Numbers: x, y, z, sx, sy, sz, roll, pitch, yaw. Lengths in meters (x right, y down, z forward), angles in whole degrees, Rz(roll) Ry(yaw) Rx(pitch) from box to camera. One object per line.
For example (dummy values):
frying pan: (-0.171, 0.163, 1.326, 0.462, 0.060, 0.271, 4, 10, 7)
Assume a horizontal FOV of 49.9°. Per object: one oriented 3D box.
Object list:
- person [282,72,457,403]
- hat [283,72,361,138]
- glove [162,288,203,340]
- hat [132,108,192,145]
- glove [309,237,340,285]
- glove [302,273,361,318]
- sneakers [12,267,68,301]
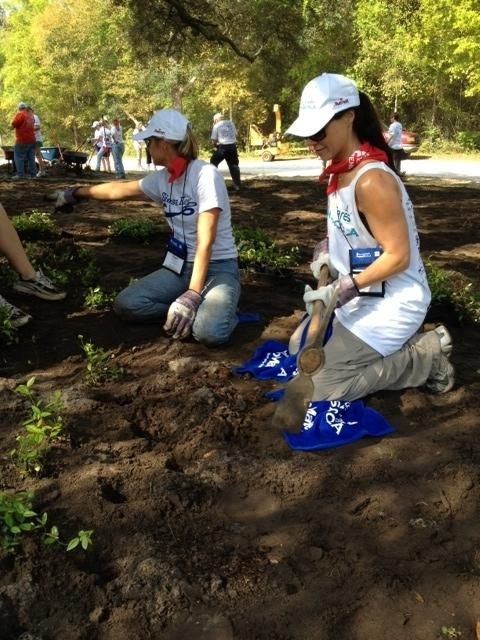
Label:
person: (0.689, -0.365, 2.634, 0.888, 1.653, 0.512, 0, 16, 1)
hat: (0.393, -1.014, 2.420, 0.327, 0.310, 0.304, 2, 15, 10)
glove: (-0.380, -0.044, 3.481, 0.223, 0.335, 0.119, 23, 11, -3)
hat: (-0.546, -1.356, 3.586, 0.373, 0.175, 0.222, 2, 44, -4)
glove: (0.495, -0.372, 3.120, 0.220, 0.242, 0.096, -6, -15, 11)
glove: (0.444, -0.132, 2.612, 0.243, 0.136, 0.092, -25, -19, 20)
sneakers: (-1.609, -0.258, 4.264, 0.502, 0.210, 0.168, 16, 29, -17)
